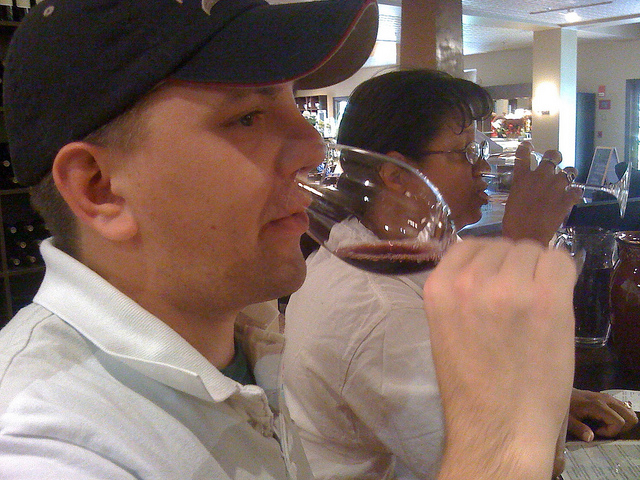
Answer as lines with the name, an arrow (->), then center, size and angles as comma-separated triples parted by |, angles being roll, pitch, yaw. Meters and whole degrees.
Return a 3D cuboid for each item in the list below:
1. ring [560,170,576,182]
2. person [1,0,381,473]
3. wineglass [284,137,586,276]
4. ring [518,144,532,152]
ring -> 0.674, -0.177, 1.542 | 0.013, 0.030, 0.023 | 23, -21, -38
person -> -0.098, -0.041, 1.064 | 0.638, 0.779, 0.622 | -3, 10, -7
wineglass -> 0.101, -0.055, 0.963 | 0.257, 0.212, 0.185 | 3, 10, 14
ring -> 0.568, -0.253, 1.564 | 0.025, 0.019, 0.025 | -1, 5, 0
